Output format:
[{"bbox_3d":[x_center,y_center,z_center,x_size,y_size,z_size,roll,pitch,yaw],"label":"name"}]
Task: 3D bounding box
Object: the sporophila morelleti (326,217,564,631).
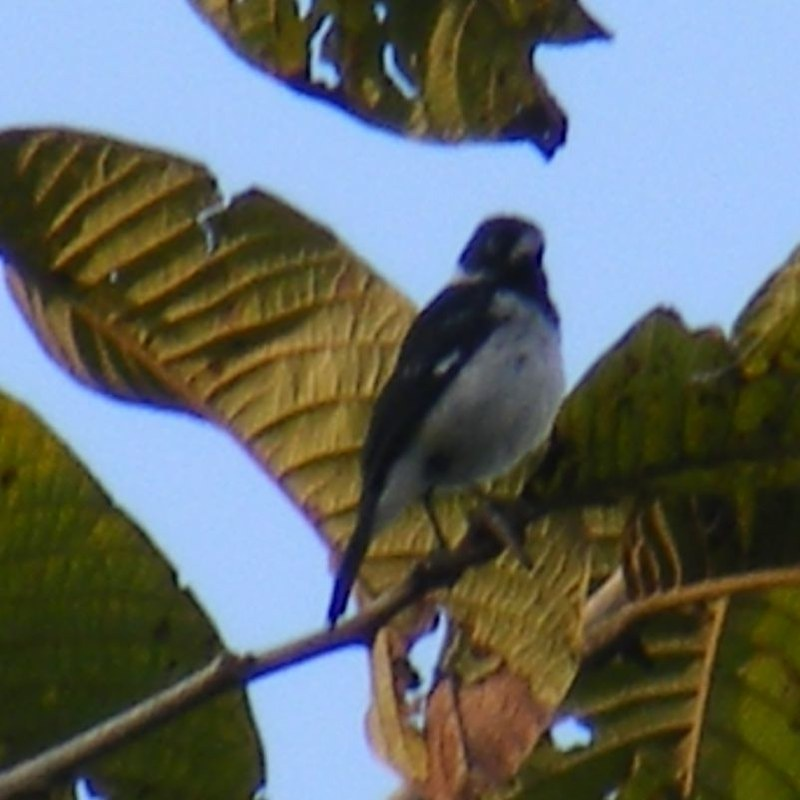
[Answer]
[{"bbox_3d":[0.025,0.004,1.151,0.149,0.207,0.098,-17,-40,14],"label":"sporophila morelleti"}]
